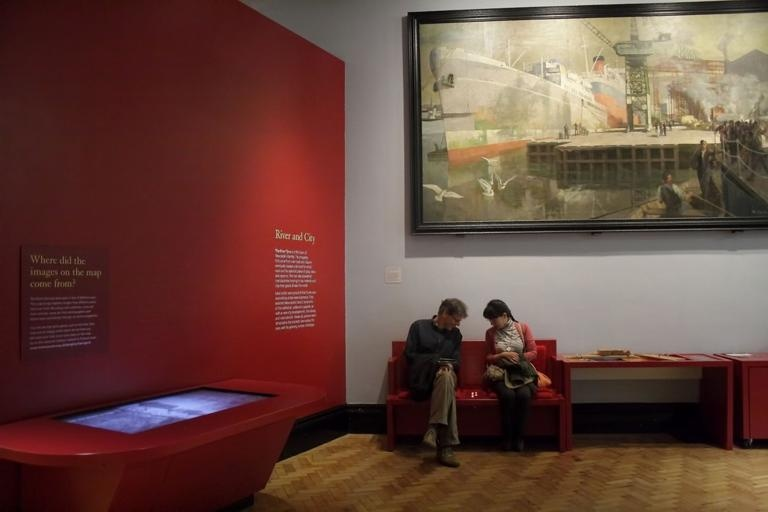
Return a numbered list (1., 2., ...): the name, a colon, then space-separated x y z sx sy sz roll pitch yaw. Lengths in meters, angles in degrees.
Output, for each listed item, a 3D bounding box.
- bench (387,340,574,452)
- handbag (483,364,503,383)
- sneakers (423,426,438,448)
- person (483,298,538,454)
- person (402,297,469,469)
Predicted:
1. bench: 0.956 1.452 5.644 1.752 1.138 0.626 -2 -8 8
2. handbag: 1.135 1.206 5.447 0.131 0.074 0.172 3 3 -8
3. sneakers: 0.429 1.740 5.095 0.137 0.157 0.124 -1 3 0
4. person: 1.316 1.216 5.476 0.554 1.488 0.421 0 3 13
5. person: 0.503 1.230 5.384 0.651 1.519 0.780 0 3 8
